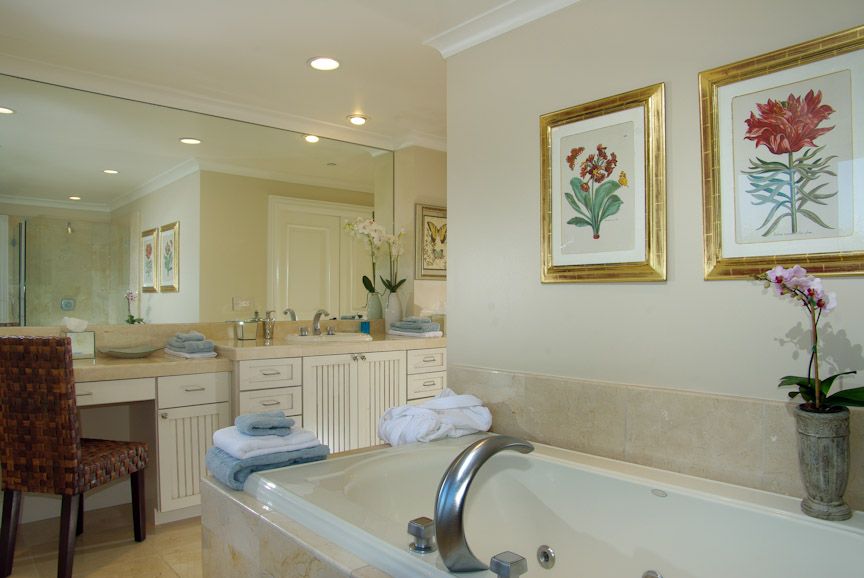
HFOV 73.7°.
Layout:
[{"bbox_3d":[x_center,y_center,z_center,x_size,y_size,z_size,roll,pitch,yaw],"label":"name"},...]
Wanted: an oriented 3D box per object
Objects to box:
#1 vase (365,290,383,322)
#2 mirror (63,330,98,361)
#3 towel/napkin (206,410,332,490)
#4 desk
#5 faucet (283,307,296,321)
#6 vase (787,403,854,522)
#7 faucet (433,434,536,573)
[{"bbox_3d":[-0.506,0.153,5.032,0.202,0.319,0.215,-1,-1,6],"label":"vase"},{"bbox_3d":[-2.265,0.346,3.804,0.228,0.242,0.176,2,-6,-45],"label":"mirror"},{"bbox_3d":[-0.757,0.718,2.647,0.361,0.141,0.376,4,-4,-42],"label":"towel/napkin"},{"bbox_3d":[-1.695,0.884,3.505,1.137,1.134,0.682,3,-6,-40],"label":"desk"},{"bbox_3d":[-1.130,0.198,4.620,0.095,0.069,0.141,16,2,3],"label":"faucet"},{"bbox_3d":[1.485,0.653,2.193,0.193,0.412,0.121,2,7,30],"label":"vase"},{"bbox_3d":[0.171,0.721,2.016,0.199,0.374,0.408,3,7,38],"label":"faucet"}]
